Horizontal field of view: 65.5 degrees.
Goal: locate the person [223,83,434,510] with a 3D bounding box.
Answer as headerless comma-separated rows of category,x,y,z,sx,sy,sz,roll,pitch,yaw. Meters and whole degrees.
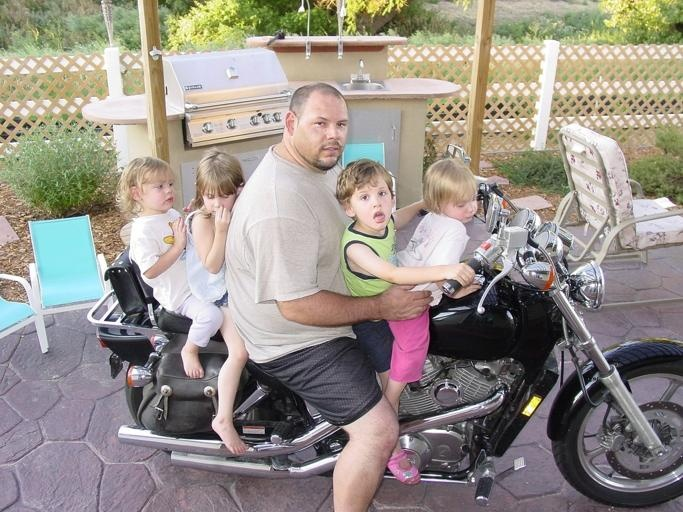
person,-0.085,0.159,2.336,0.542,1.723,0.840,-19,27,-41

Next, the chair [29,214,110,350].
chair,-2.067,0.252,4.101,0.694,0.884,0.776,4,35,-14

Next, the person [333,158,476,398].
person,0.274,0.134,2.339,0.410,1.043,0.474,-10,52,1

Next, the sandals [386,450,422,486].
sandals,0.289,0.982,2.453,0.090,0.249,0.097,-15,41,12
